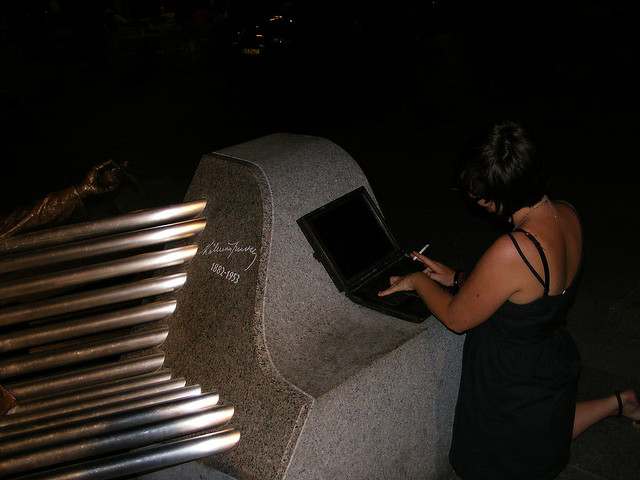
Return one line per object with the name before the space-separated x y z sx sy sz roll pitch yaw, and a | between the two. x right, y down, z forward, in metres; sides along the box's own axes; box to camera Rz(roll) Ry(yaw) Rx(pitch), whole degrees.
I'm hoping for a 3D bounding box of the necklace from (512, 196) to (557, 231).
necklace | 0.960 -0.115 2.451 0.128 0.039 0.127 -30 17 16
